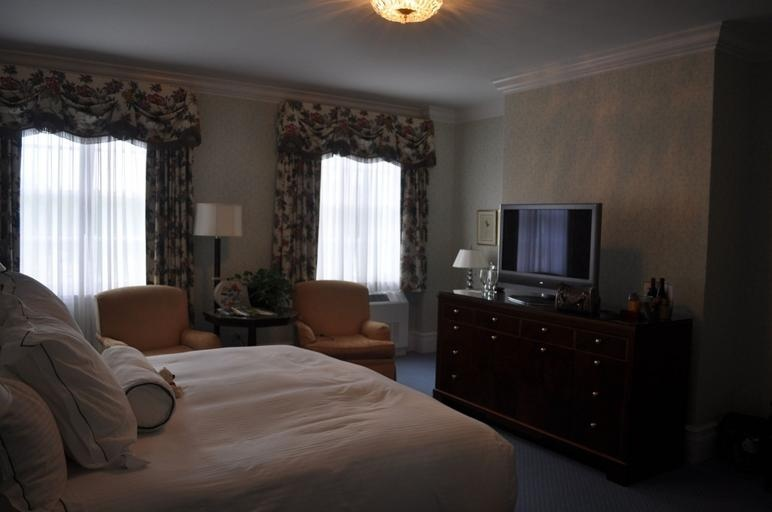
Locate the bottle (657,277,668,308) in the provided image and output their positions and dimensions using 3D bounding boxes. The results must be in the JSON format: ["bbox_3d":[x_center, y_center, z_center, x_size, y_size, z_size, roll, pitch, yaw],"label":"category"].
[{"bbox_3d":[2.338,0.298,4.979,0.087,0.220,0.150,1,3,24],"label":"bottle"}]

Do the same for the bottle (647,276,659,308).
[{"bbox_3d":[2.255,0.306,5.008,0.088,0.237,0.150,1,3,24],"label":"bottle"}]

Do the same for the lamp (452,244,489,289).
[{"bbox_3d":[0.997,0.127,7.107,0.490,0.550,0.504,0,-2,2],"label":"lamp"}]

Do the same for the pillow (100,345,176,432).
[{"bbox_3d":[-1.519,0.631,3.618,0.341,0.273,1.009,3,4,-28],"label":"pillow"}]

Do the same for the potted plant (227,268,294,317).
[{"bbox_3d":[-1.328,0.364,6.454,0.572,0.357,0.506,15,1,-22],"label":"potted plant"}]

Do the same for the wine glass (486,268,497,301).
[{"bbox_3d":[1.077,0.251,6.063,0.118,0.287,0.507,0,3,10],"label":"wine glass"}]

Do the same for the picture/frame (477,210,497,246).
[{"bbox_3d":[1.279,-0.367,7.452,0.062,0.628,0.464,3,-2,-29],"label":"picture/frame"}]
